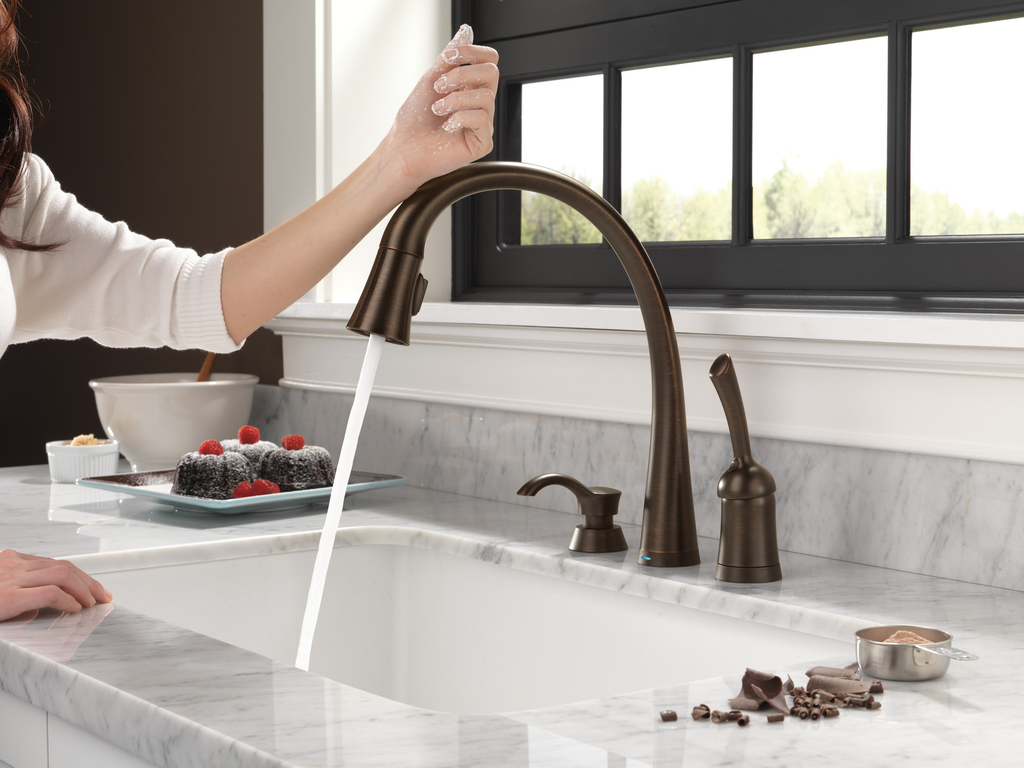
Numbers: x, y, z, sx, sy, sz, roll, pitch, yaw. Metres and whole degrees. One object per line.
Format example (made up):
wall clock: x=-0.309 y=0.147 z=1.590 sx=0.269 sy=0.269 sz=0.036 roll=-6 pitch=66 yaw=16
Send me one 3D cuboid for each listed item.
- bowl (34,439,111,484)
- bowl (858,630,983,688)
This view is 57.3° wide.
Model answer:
bowl: x=-0.772 y=0.129 z=1.627 sx=0.100 sy=0.056 sz=0.095 roll=0 pitch=1 yaw=0
bowl: x=0.327 y=0.206 z=0.731 sx=0.047 sy=0.022 sz=0.079 roll=-1 pitch=3 yaw=-10
